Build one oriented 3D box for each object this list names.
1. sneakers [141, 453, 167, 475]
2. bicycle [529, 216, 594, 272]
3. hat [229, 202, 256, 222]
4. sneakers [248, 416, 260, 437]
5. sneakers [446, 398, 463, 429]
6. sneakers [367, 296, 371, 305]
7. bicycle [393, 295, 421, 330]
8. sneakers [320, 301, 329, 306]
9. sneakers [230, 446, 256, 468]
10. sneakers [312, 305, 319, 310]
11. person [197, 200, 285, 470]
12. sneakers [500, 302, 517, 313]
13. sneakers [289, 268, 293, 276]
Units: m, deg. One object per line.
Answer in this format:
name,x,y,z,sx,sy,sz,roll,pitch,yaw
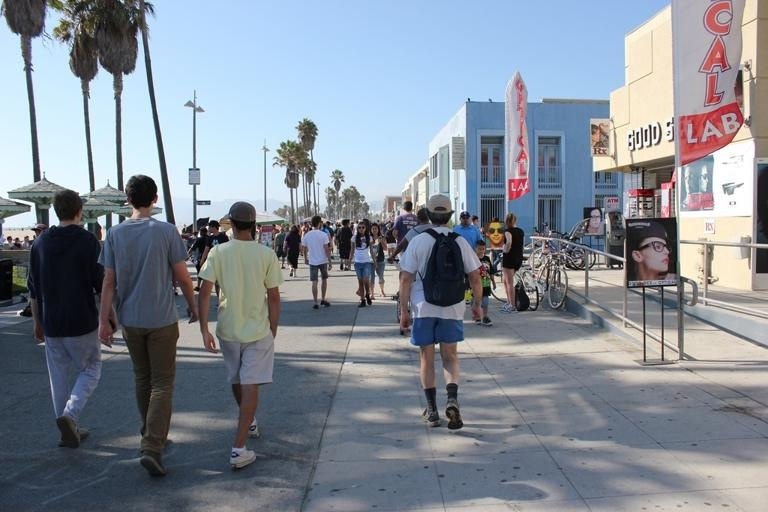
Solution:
sneakers,-2.450,2.199,6.379,0.247,0.264,0.173,-1,9,0
bicycle,5.577,-0.254,18.752,2.115,1.389,1.259,-1,-4,41
hat,-1.588,-0.527,6.785,0.229,0.181,0.320,-2,14,-20
sneakers,-1.522,2.052,7.151,0.106,0.138,0.297,1,0,0
sneakers,0.841,1.900,7.219,0.152,0.378,0.171,-5,19,15
sneakers,-0.369,1.130,14.990,0.084,0.104,0.257,-1,-41,-3
bicycle,0.331,0.661,7.690,0.172,0.460,0.549,16,-33,-4
sneakers,-1.471,1.187,14.976,0.198,0.143,0.112,-5,9,-14
sneakers,-1.526,2.163,6.601,0.140,0.213,0.323,6,8,32
sneakers,-1.675,1.254,14.726,0.091,0.095,0.116,1,-7,12
person,-1.561,0.823,6.729,0.791,2.794,0.696,-9,12,-42
sneakers,2.684,1.144,13.129,0.392,0.191,0.134,4,-2,-19
sneakers,-3.578,0.639,23.207,0.118,0.147,0.361,4,-35,-4
